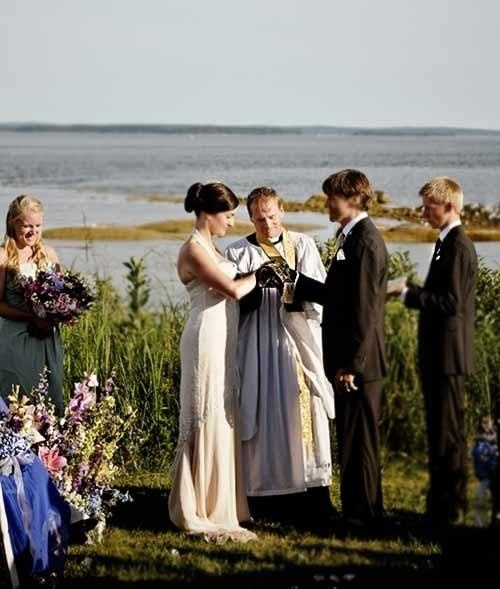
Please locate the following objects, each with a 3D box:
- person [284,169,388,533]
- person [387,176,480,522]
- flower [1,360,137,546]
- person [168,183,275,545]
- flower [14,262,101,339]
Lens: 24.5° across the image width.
[{"bbox_3d":[0.545,0.297,6.130,0.336,1.887,0.515,-1,-5,-33],"label":"person"},{"bbox_3d":[1.055,0.329,6.446,0.496,1.918,0.419,-5,-4,8],"label":"person"},{"bbox_3d":[-0.913,0.851,6.098,0.715,1.170,0.900,2,-16,-4],"label":"flower"},{"bbox_3d":[-0.215,0.371,6.191,0.547,1.912,0.407,-4,-4,-5],"label":"person"},{"bbox_3d":[-1.094,0.005,6.362,0.407,0.332,0.223,-4,-5,-13],"label":"flower"}]
